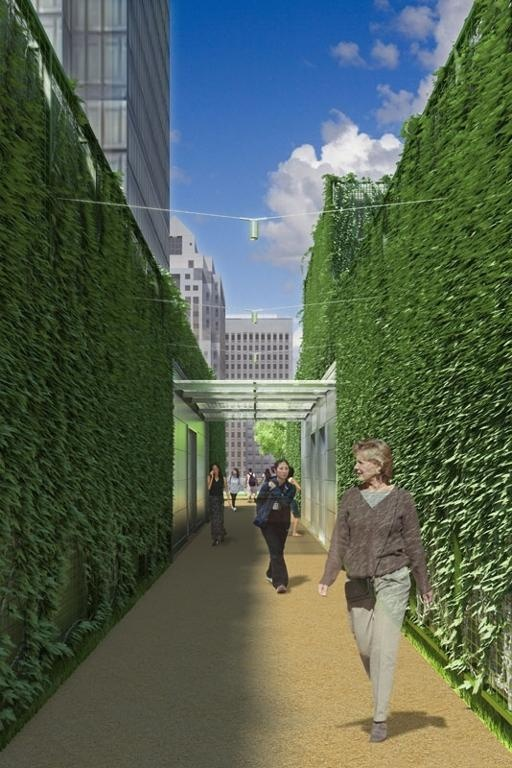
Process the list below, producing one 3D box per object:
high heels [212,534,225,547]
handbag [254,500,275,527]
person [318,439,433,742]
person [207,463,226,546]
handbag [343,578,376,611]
[{"bbox_3d":[-0.818,3.458,12.931,0.129,0.238,0.438,-2,-13,7],"label":"high heels"},{"bbox_3d":[0.133,1.709,7.661,0.133,0.328,0.245,12,-8,-22],"label":"handbag"},{"bbox_3d":[0.596,1.021,2.965,0.386,1.492,0.491,-1,0,-39],"label":"person"},{"bbox_3d":[-0.854,2.726,13.038,0.319,1.710,0.893,-1,0,-3],"label":"person"},{"bbox_3d":[0.492,1.035,2.885,0.103,0.167,0.189,-1,-1,-33],"label":"handbag"}]
